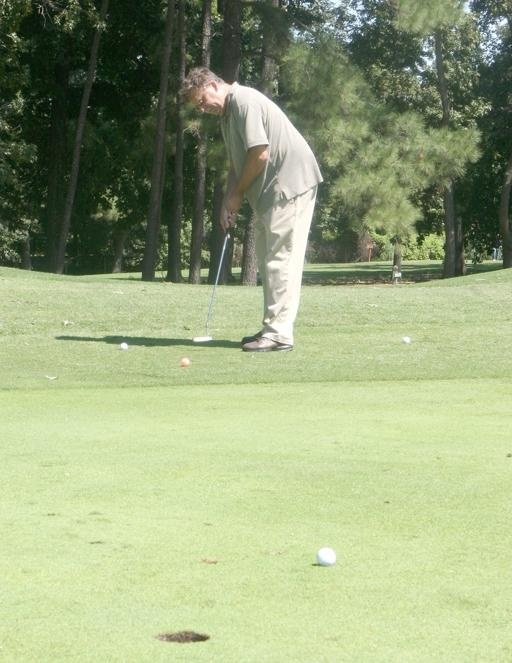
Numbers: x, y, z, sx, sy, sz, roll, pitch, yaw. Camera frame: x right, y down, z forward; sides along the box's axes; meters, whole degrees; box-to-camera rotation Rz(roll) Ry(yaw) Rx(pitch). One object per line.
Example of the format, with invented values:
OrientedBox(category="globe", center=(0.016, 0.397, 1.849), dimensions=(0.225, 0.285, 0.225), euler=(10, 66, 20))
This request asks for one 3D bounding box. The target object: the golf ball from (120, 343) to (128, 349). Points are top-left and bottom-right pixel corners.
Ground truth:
OrientedBox(category="golf ball", center=(-0.784, 0.089, 6.991), dimensions=(0.038, 0.039, 0.040), euler=(0, 7, 0))

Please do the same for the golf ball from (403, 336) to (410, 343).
OrientedBox(category="golf ball", center=(0.936, 0.051, 7.215), dimensions=(0.036, 0.022, 0.037), euler=(0, 5, 0))

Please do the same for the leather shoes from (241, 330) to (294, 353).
OrientedBox(category="leather shoes", center=(0.075, 0.068, 6.900), dimensions=(0.274, 0.135, 0.129), euler=(5, -2, -16))

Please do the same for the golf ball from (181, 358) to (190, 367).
OrientedBox(category="golf ball", center=(-0.368, 0.167, 6.086), dimensions=(0.035, 0.044, 0.038), euler=(-2, 35, 2))

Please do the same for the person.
OrientedBox(category="person", center=(-0.020, -0.710, 6.869), dimensions=(0.522, 1.637, 0.868), euler=(5, 6, 40))
